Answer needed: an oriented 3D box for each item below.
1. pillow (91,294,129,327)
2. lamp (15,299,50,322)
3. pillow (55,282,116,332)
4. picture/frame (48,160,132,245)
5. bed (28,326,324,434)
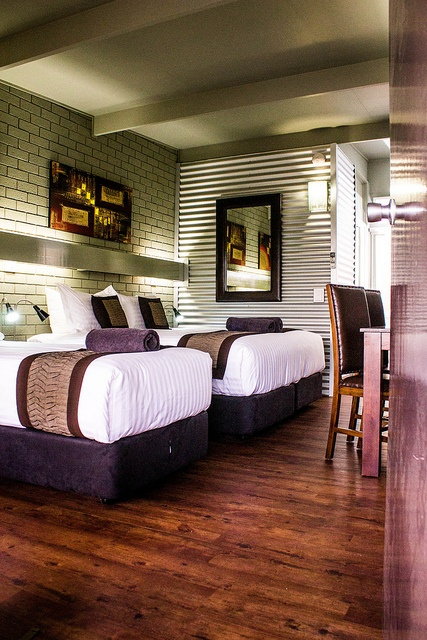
[{"bbox_3d":[-1.037,-0.077,4.729,0.113,0.280,0.442,-21,-5,18],"label":"pillow"},{"bbox_3d":[-1.672,-0.102,4.589,0.328,0.228,0.349,0,-1,31],"label":"lamp"},{"bbox_3d":[-1.302,-0.141,4.573,0.131,0.467,0.451,-28,-20,31],"label":"pillow"},{"bbox_3d":[-1.430,-1.326,5.343,0.041,0.726,1.174,1,-2,26],"label":"picture/frame"},{"bbox_3d":[-0.034,0.346,4.708,2.471,0.604,2.541,4,7,-29],"label":"bed"}]
